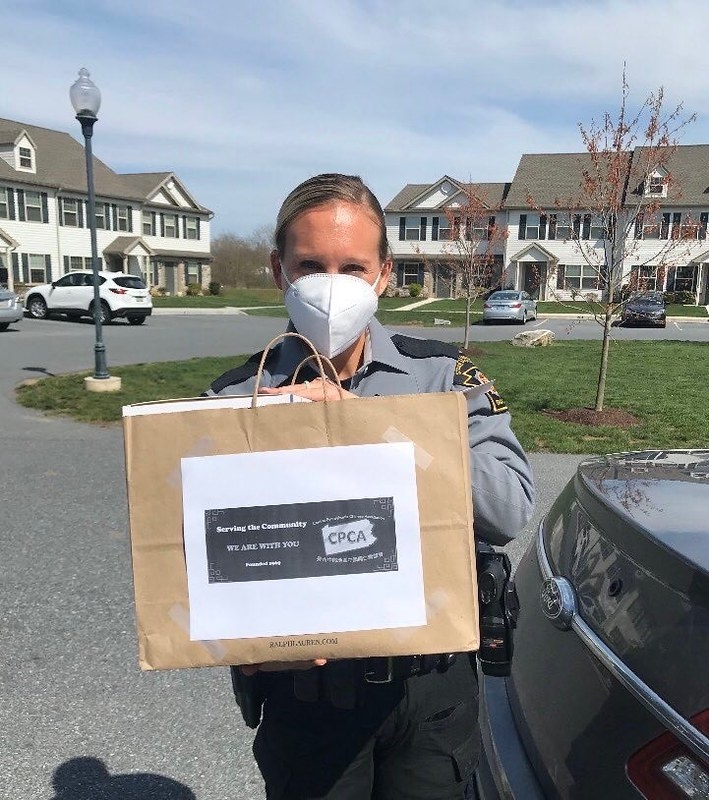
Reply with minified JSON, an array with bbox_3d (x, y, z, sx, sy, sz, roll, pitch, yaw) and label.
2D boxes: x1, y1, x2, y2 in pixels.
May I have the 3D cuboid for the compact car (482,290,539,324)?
[{"bbox_3d":[5.858,-3.562,29.047,1.088,0.769,2.688,1,12,18],"label":"compact car"}]

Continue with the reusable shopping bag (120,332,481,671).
[{"bbox_3d":[-0.092,0.176,1.515,0.679,0.582,0.227,-5,-6,10],"label":"reusable shopping bag"}]

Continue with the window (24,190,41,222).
[{"bbox_3d":[-15.349,-9.197,37.002,0.253,1.366,0.982,5,13,15],"label":"window"}]

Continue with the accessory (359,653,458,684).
[{"bbox_3d":[0.118,0.581,1.798,0.150,0.050,0.102,-3,-2,-6],"label":"accessory"}]

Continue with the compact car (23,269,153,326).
[{"bbox_3d":[-8.496,-3.357,24.856,4.158,1.585,1.531,9,14,34],"label":"compact car"}]

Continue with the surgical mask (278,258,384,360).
[{"bbox_3d":[-0.062,-0.238,1.889,0.218,0.150,0.221,1,24,-1],"label":"surgical mask"}]

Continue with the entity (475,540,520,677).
[{"bbox_3d":[0.321,0.456,1.772,0.087,0.257,0.141,-4,-4,16],"label":"entity"}]

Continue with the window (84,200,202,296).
[{"bbox_3d":[-12.640,-8.775,46.278,4.746,6.964,7.777,3,9,26],"label":"window"}]

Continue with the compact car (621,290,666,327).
[{"bbox_3d":[10.729,-3.399,28.712,1.470,1.137,2.041,6,12,19],"label":"compact car"}]

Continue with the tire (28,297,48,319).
[{"bbox_3d":[-10.415,-3.147,25.526,0.509,0.506,0.168,44,17,16],"label":"tire"}]

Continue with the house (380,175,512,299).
[{"bbox_3d":[6.708,-10.750,51.104,8.686,7.387,6.420,5,10,28],"label":"house"}]
